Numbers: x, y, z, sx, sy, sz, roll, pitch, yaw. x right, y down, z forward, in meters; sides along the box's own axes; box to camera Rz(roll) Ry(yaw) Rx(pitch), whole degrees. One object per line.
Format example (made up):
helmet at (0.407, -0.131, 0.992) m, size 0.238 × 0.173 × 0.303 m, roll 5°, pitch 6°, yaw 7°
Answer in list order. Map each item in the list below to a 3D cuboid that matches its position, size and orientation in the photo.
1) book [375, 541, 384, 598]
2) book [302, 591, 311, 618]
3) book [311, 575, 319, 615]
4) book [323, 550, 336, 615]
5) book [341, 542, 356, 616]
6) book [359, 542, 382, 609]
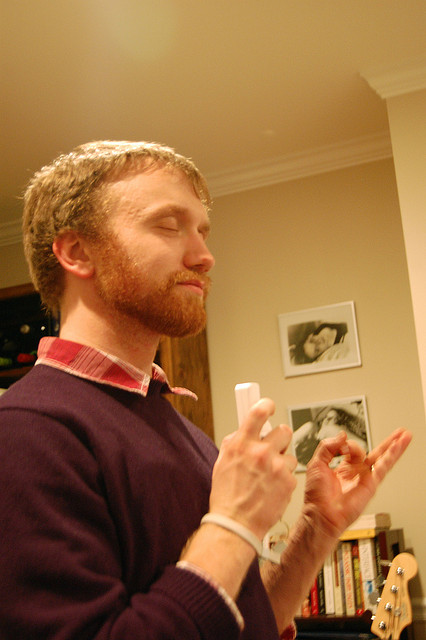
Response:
book at (0.790, 1.188, 2.406) m, size 0.025 × 0.243 × 0.127 m, roll -7°, pitch -16°, yaw 19°
book at (0.451, 1.365, 2.444) m, size 0.050 × 0.097 × 0.079 m, roll -5°, pitch -14°, yaw 8°
book at (0.492, 1.331, 2.453) m, size 0.041 × 0.156 × 0.064 m, roll -5°, pitch -15°, yaw 12°
book at (0.566, 1.281, 2.482) m, size 0.057 × 0.259 × 0.062 m, roll -6°, pitch -15°, yaw 13°
book at (0.668, 1.316, 2.565) m, size 0.067 × 0.346 × 0.354 m, roll 7°, pitch -19°, yaw 16°
book at (0.752, 1.223, 2.414) m, size 0.073 × 0.214 × 0.223 m, roll -3°, pitch -18°, yaw 9°
